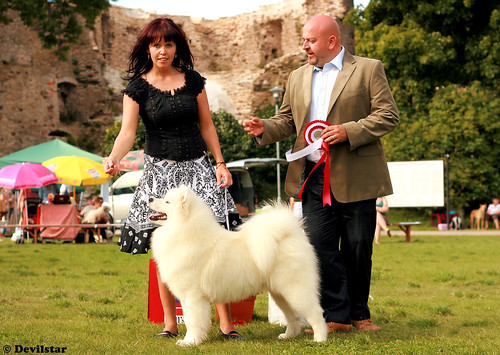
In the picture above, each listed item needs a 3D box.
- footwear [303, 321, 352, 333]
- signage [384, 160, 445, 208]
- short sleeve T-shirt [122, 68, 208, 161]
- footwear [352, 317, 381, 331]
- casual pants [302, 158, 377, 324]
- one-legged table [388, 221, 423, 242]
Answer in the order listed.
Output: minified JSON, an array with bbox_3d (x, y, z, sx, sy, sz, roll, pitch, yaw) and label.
[{"bbox_3d":[2.466,4.631,32.097,1.503,0.616,0.515,3,-8,-2],"label":"footwear"},{"bbox_3d":[7.287,0.223,44.309,2.056,1.497,0.220,-1,3,15],"label":"signage"},{"bbox_3d":[-2.647,-1.946,32.195,2.997,2.923,1.515,-8,5,-22],"label":"short sleeve T-shirt"},{"bbox_3d":[3.676,4.633,32.019,0.344,0.433,0.987,3,-11,-44],"label":"footwear"},{"bbox_3d":[3.050,2.099,32.382,2.235,5.336,1.663,5,-23,-20],"label":"casual pants"},{"bbox_3d":[6.488,2.062,41.603,1.014,0.643,1.025,0,2,-3],"label":"one-legged table"}]
